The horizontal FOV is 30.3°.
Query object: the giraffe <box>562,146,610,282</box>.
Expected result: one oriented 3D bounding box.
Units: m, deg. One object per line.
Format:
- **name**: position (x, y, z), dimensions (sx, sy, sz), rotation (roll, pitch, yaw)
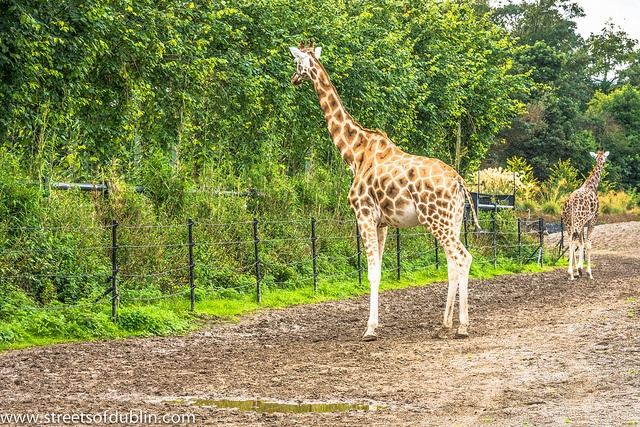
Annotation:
- **giraffe**: position (9.667, 0.047, 43.118), dimensions (1.381, 4.643, 2.577), rotation (-3, -3, 25)
